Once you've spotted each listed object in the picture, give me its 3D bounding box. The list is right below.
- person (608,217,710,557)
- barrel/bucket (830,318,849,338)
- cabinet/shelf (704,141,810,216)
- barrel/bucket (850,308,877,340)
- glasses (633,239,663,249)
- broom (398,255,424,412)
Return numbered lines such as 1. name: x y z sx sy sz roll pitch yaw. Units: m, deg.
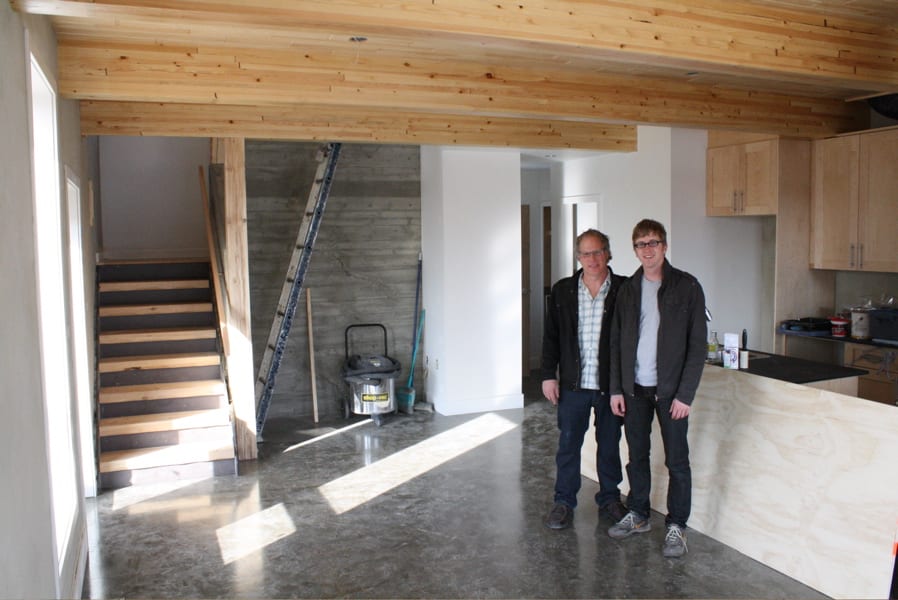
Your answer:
1. person: 1.616 0.675 5.037 0.715 2.595 0.473 3 9 33
2. barrel/bucket: 4.360 0.306 7.153 0.216 0.211 0.201 -3 9 1
3. cabinet/shelf: 3.659 -1.437 7.470 0.536 0.786 1.031 -2 6 -21
4. barrel/bucket: 4.512 0.261 6.984 0.318 0.298 0.314 -2 7 0
5. glasses: 1.554 -0.433 4.989 0.198 0.069 0.064 0 8 16
6. broom: -0.583 0.461 9.236 0.374 2.163 0.865 -2 8 7
